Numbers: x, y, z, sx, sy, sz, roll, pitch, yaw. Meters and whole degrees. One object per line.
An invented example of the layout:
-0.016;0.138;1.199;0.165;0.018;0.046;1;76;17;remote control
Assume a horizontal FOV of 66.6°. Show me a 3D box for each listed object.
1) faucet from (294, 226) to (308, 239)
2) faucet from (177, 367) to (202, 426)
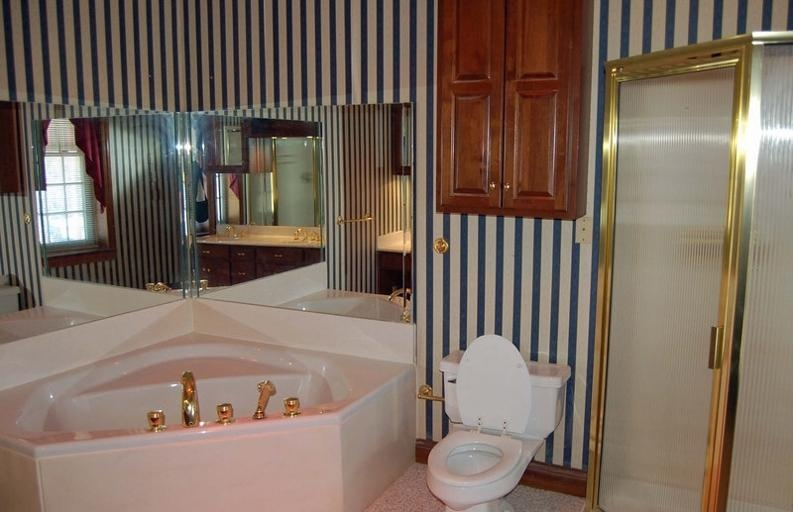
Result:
-0.639;-0.163;4.034;0.075;0.077;0.026;1;5;20;faucet
-1.113;0.761;3.235;0.080;0.221;0.288;-6;8;-20;faucet
